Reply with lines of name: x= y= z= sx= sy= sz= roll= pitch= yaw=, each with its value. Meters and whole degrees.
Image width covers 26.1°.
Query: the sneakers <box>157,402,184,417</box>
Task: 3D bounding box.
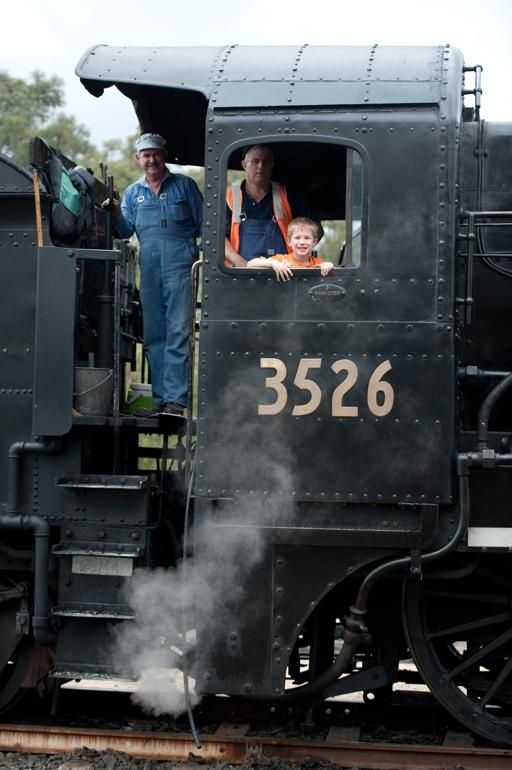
sneakers: x=-0.449 y=0.139 z=5.873 sx=0.064 sy=0.066 sz=0.167 roll=1 pitch=-10 yaw=13

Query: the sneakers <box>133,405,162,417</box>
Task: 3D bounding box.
sneakers: x=-0.569 y=0.146 z=5.996 sx=0.180 sy=0.075 sz=0.064 roll=6 pitch=-2 yaw=-26

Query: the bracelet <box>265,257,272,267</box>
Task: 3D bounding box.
bracelet: x=0.067 y=-0.590 z=5.328 sx=0.042 sy=0.042 sz=0.043 roll=-1 pitch=-2 yaw=26
